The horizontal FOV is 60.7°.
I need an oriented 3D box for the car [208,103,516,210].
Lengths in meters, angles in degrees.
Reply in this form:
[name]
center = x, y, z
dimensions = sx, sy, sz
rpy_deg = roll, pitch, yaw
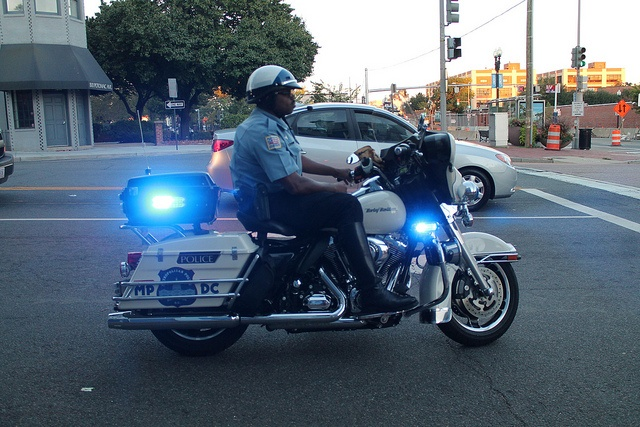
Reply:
[car]
center = 0.901, -1.425, 11.457
dimensions = 5.506, 2.028, 2.499
rpy_deg = -2, 5, -6

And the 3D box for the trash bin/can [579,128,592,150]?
[trash bin/can]
center = 13.486, -3.815, 28.067
dimensions = 0.537, 1.063, 0.782
rpy_deg = 2, 13, 21

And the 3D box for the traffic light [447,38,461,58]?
[traffic light]
center = 5.821, -7.234, 23.955
dimensions = 0.529, 0.985, 0.553
rpy_deg = 0, 12, 13

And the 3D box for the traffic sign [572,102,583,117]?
[traffic sign]
center = 12.697, -5.166, 27.148
dimensions = 0.503, 0.696, 0.916
rpy_deg = 2, 13, 21
